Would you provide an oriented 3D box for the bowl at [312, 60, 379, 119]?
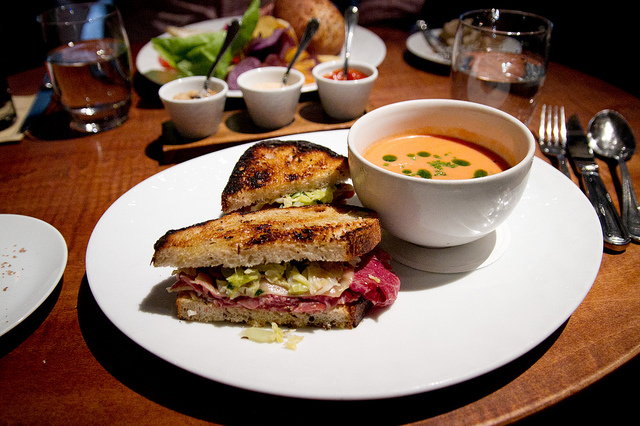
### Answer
[{"bbox_3d":[0.166,-0.796,3.245,0.444,0.269,0.397,4,29,5],"label":"bowl"}]

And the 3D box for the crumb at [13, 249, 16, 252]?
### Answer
[{"bbox_3d":[-1.449,0.177,2.267,0.011,0.003,0.010,21,46,19],"label":"crumb"}]

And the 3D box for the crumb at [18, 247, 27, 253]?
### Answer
[{"bbox_3d":[-1.405,0.172,2.262,0.032,0.007,0.032,-22,53,-21],"label":"crumb"}]

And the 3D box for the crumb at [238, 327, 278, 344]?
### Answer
[{"bbox_3d":[-0.254,0.496,1.953,0.081,0.018,0.078,1,7,-45],"label":"crumb"}]

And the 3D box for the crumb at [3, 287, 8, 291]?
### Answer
[{"bbox_3d":[-1.412,0.338,2.146,0.017,0.003,0.020,9,48,5],"label":"crumb"}]

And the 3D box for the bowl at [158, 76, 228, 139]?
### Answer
[{"bbox_3d":[-0.847,-0.683,3.048,0.449,0.429,0.290,3,68,-8],"label":"bowl"}]

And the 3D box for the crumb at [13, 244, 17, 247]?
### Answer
[{"bbox_3d":[-1.456,0.153,2.285,0.017,0.004,0.009,-8,49,-1],"label":"crumb"}]

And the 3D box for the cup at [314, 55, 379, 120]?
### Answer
[{"bbox_3d":[0.191,-0.819,3.250,0.427,0.282,0.395,-4,34,3],"label":"cup"}]

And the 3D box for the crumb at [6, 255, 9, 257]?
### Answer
[{"bbox_3d":[-1.470,0.200,2.252,0.015,0.002,0.008,9,48,5],"label":"crumb"}]

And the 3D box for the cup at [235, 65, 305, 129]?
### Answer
[{"bbox_3d":[-0.331,-0.755,3.177,0.438,0.288,0.428,1,38,-1],"label":"cup"}]
